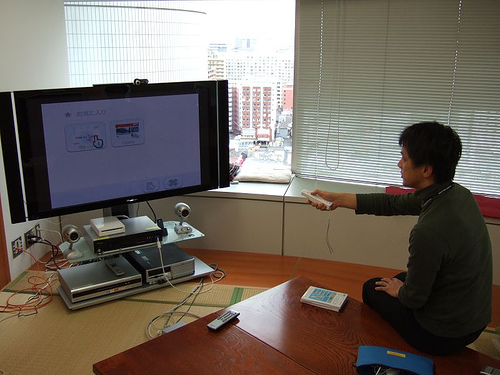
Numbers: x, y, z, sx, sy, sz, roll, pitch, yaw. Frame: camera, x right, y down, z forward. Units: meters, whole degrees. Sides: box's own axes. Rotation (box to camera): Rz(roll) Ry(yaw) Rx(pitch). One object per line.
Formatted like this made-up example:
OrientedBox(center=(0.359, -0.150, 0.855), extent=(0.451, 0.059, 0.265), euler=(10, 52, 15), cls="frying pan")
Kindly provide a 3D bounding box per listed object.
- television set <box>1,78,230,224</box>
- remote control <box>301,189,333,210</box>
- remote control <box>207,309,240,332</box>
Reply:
OrientedBox(center=(-0.963, -0.288, 2.565), extent=(1.170, 0.711, 0.093), euler=(-9, 17, -30), cls="television set")
OrientedBox(center=(0.424, 0.077, 2.276), extent=(0.151, 0.094, 0.231), euler=(-9, 16, -27), cls="remote control")
OrientedBox(center=(-0.123, 0.625, 1.702), extent=(0.056, 0.016, 0.126), euler=(11, 22, 34), cls="remote control")
